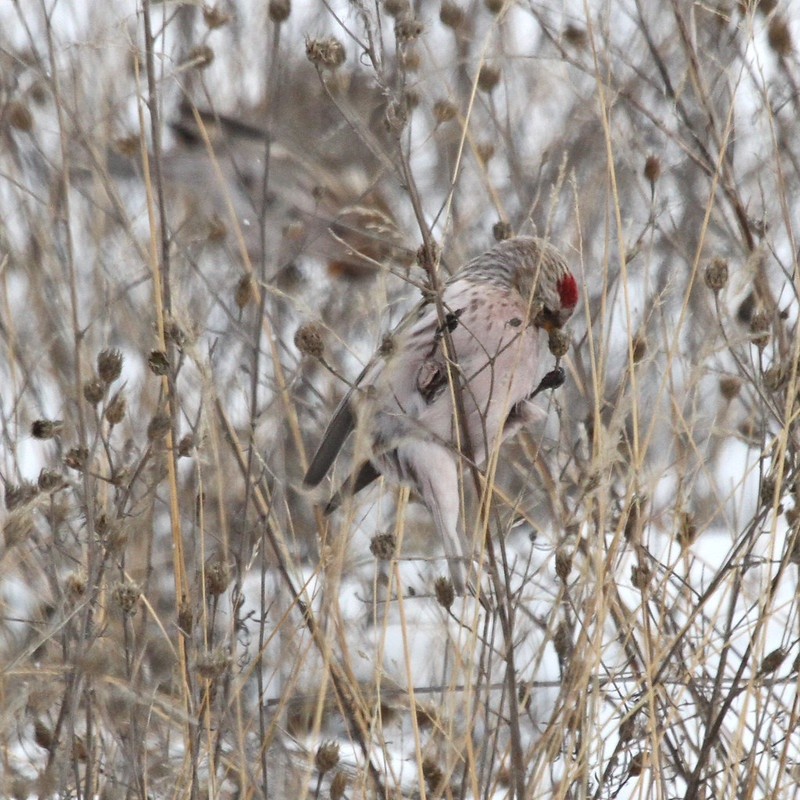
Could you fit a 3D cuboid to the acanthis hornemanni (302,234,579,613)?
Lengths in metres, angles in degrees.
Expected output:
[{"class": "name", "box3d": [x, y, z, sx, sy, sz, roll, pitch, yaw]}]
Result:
[{"class": "acanthis hornemanni", "box3d": [0.075, -0.058, 3.521, 0.628, 0.327, 0.464, -18, -83, 0]}]
